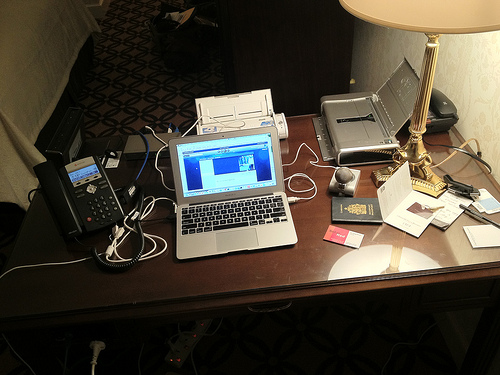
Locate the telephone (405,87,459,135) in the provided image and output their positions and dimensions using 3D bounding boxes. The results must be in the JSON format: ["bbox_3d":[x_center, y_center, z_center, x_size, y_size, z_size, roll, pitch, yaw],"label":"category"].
[{"bbox_3d":[0.809,-0.349,1.763,0.181,0.125,0.212,-4,40,30],"label":"telephone"}]

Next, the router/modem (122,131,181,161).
[{"bbox_3d":[-0.468,-0.189,1.780,0.220,0.055,0.136,-5,56,-3],"label":"router/modem"}]

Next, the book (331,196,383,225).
[{"bbox_3d":[0.392,0.078,1.482,0.133,0.019,0.102,3,48,5],"label":"book"}]

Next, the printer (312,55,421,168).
[{"bbox_3d":[0.485,-0.262,1.746,0.425,0.303,0.463,-5,53,-1],"label":"printer"}]

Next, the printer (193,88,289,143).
[{"bbox_3d":[-0.055,-0.316,1.821,0.375,0.153,0.229,-6,59,-2],"label":"printer"}]

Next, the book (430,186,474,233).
[{"bbox_3d":[0.724,0.082,1.474,0.182,0.030,0.116,-35,33,-16],"label":"book"}]

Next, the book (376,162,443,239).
[{"bbox_3d":[0.581,0.037,1.445,0.206,0.131,0.156,-37,40,-30],"label":"book"}]

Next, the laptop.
[{"bbox_3d":[-0.071,0.031,1.499,0.497,0.318,0.470,-7,55,-1],"label":"laptop"}]
